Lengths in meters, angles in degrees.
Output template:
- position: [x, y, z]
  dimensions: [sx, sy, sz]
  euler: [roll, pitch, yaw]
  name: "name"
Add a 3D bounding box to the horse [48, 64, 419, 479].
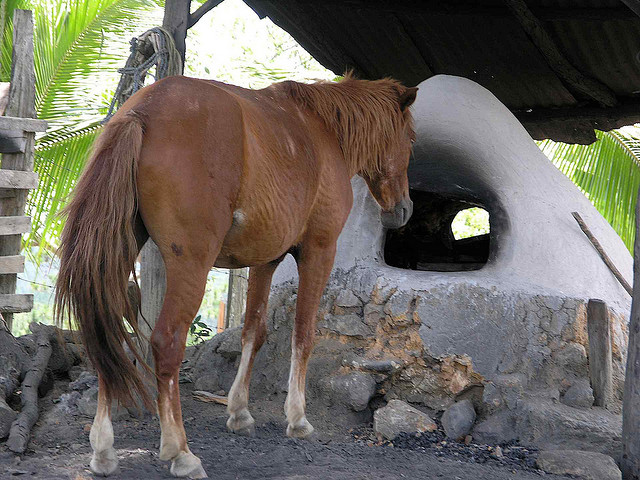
- position: [-0.520, 0.113, 4.429]
  dimensions: [2.373, 2.682, 0.754]
  euler: [-2, 12, -43]
  name: "horse"
